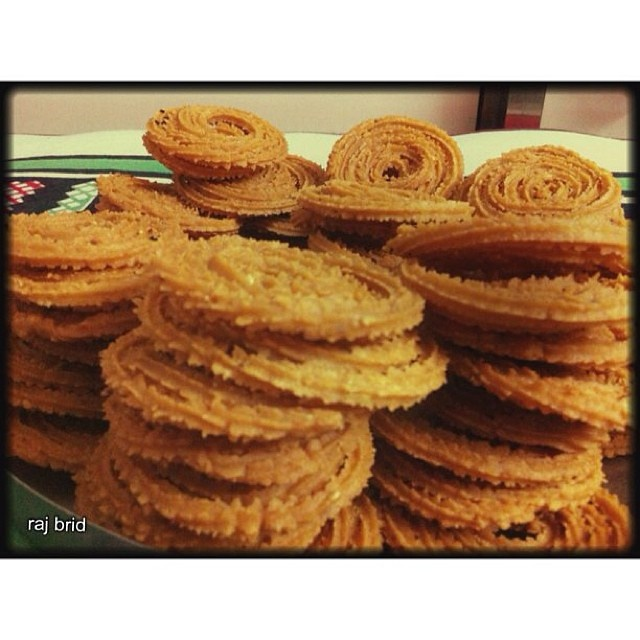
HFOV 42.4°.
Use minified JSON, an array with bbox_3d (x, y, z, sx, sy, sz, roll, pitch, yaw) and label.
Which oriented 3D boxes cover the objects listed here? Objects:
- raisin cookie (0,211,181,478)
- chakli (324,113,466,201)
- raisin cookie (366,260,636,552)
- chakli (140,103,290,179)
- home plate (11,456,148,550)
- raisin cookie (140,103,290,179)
[{"bbox_3d":[-0.400,0.019,1.616,0.443,0.402,0.420,-5,23,-35],"label":"raisin cookie"},{"bbox_3d":[0.182,-0.357,1.745,0.251,0.092,0.230,-7,41,-10],"label":"chakli"},{"bbox_3d":[0.294,0.113,1.484,0.485,0.188,0.483,-3,34,-9],"label":"raisin cookie"},{"bbox_3d":[-0.240,-0.381,1.812,0.260,0.093,0.272,9,-23,-29],"label":"chakli"},{"bbox_3d":[-0.391,0.299,1.326,0.171,0.035,0.172,14,39,-13],"label":"home plate"},{"bbox_3d":[-0.242,-0.387,1.797,0.249,0.086,0.263,5,-28,-35],"label":"raisin cookie"}]
